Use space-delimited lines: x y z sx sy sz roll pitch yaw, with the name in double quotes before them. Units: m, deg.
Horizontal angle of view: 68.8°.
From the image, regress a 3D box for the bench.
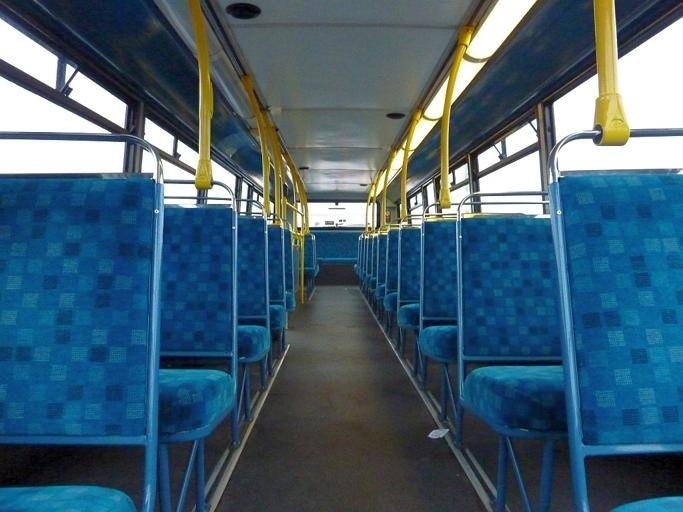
"bench" -0.190 -0.219 14.318 2.222 1.653 1.111 1 -4 -8
